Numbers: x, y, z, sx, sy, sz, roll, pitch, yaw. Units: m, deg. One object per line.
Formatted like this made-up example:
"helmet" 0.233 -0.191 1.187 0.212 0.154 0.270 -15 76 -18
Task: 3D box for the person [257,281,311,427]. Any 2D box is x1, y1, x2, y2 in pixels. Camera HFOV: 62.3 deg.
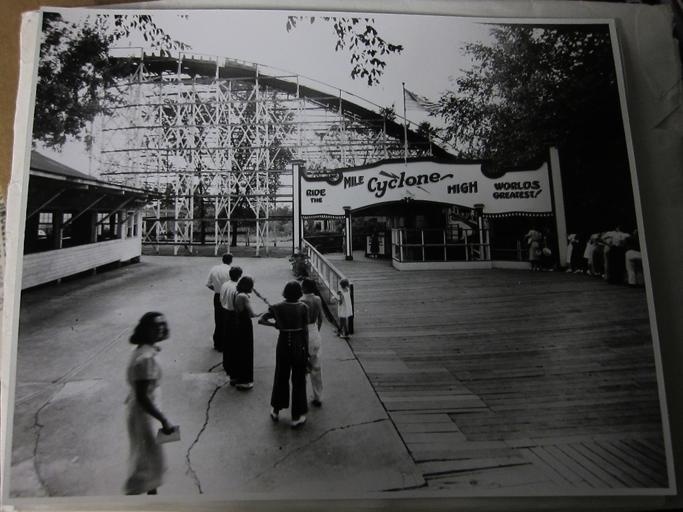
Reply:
"person" -0.608 1.077 6.254 0.492 1.591 0.234 -1 0 -9

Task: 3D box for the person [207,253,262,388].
"person" -1.207 0.800 6.425 0.433 1.464 0.398 -1 0 -7

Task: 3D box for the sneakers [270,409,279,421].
"sneakers" -0.737 1.743 6.174 0.060 0.096 0.133 2 -7 -26

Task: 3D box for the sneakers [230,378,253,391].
"sneakers" -1.105 1.429 6.267 0.201 0.078 0.120 1 26 2

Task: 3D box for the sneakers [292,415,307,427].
"sneakers" -0.467 1.799 6.165 0.151 0.070 0.080 -12 20 -38

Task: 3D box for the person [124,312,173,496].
"person" -2.067 1.622 6.200 0.482 2.002 0.470 -1 0 30
